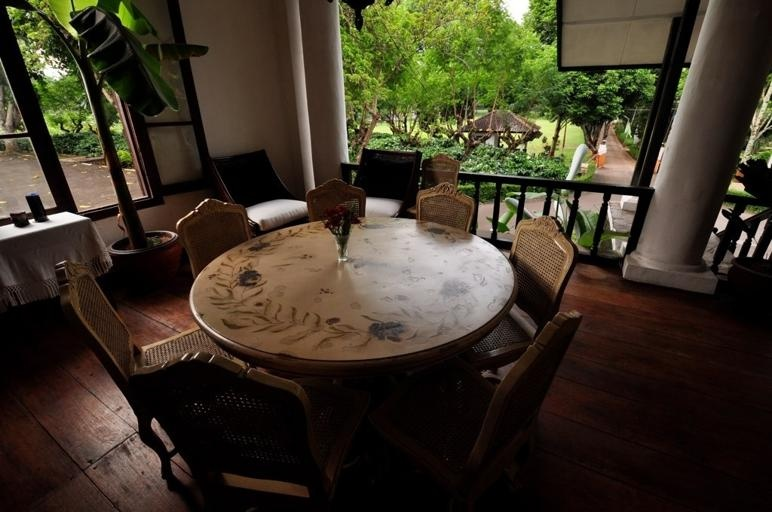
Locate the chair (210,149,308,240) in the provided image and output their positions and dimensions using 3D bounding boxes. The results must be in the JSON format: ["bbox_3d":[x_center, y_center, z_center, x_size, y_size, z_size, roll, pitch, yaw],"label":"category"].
[{"bbox_3d":[-1.479,-0.702,5.327,0.869,1.056,0.806,29,45,36],"label":"chair"}]

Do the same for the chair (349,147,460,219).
[{"bbox_3d":[0.160,-0.990,5.893,0.744,0.817,1.280,14,39,17],"label":"chair"}]
